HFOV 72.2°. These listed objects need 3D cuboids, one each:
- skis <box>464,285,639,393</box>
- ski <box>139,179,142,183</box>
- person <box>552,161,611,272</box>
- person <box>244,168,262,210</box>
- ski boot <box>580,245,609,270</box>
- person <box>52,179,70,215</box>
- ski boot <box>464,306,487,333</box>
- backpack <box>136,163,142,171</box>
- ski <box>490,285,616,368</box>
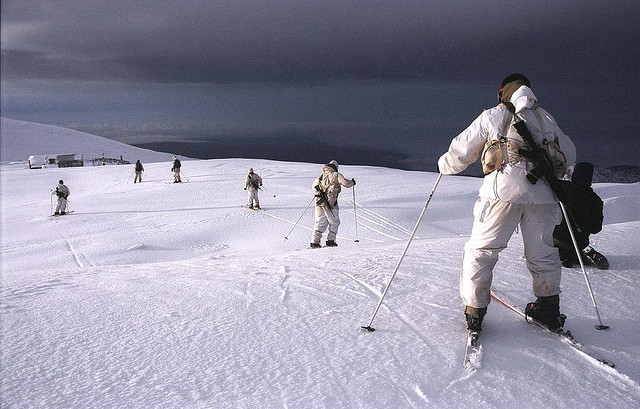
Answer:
[{"bbox_3d":[2.680,1.609,5.111,0.227,0.133,2.138,-11,26,-18],"label":"skis"},{"bbox_3d":[-11.543,-1.523,28.258,0.166,0.126,0.576,-2,10,-26],"label":"ski"},{"bbox_3d":[3.598,0.047,6.227,0.674,0.627,1.710,10,-18,23],"label":"person"},{"bbox_3d":[-2.705,-0.688,17.783,0.561,1.500,1.974,1,9,-10],"label":"person"},{"bbox_3d":[4.226,0.833,6.780,0.357,0.131,0.153,45,-7,9],"label":"ski boot"},{"bbox_3d":[-10.547,-0.201,17.905,0.471,1.124,0.956,-3,10,-29],"label":"person"},{"bbox_3d":[1.887,1.322,5.363,0.262,0.306,0.298,1,16,7],"label":"ski boot"},{"bbox_3d":[-11.510,-2.357,27.879,0.197,0.547,0.217,4,1,0],"label":"backpack"},{"bbox_3d":[2.818,1.506,5.303,1.393,0.155,0.110,31,60,17],"label":"ski"}]
